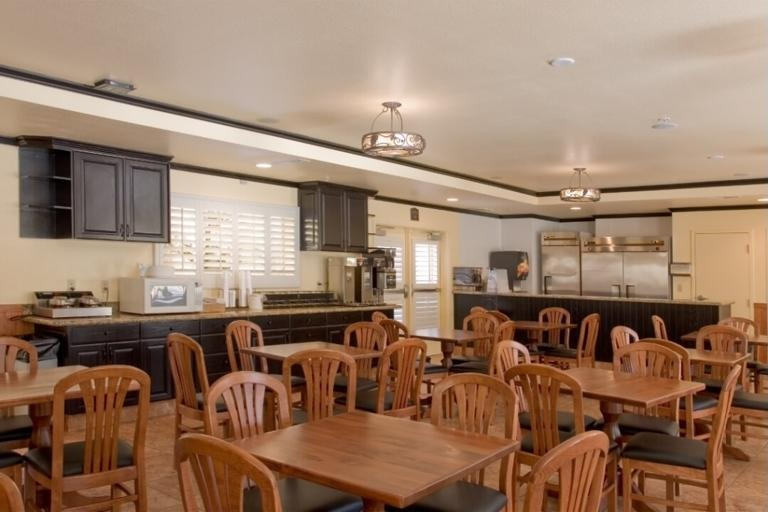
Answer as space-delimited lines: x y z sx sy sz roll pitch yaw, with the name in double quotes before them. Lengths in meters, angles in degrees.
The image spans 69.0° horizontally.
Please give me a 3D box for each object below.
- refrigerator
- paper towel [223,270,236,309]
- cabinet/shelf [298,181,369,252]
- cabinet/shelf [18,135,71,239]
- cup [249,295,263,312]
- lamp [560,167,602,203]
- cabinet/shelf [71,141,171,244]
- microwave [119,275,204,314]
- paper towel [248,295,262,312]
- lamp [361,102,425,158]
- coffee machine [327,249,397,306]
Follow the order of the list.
"refrigerator" 4.544 0.171 11.254 1.571 1.294 0.551 -1 -3 27
"paper towel" -1.997 0.420 7.166 0.145 0.474 0.351 1 -2 5
"cabinet/shelf" -0.771 -0.570 7.950 1.085 0.799 0.387 4 -7 -41
"cabinet/shelf" -3.564 -0.691 5.881 0.337 0.979 0.580 2 3 41
"cup" -1.648 0.589 7.187 0.172 0.198 0.254 -1 -4 13
"lamp" 2.799 -1.017 7.956 0.540 0.402 0.537 5 17 37
"cabinet/shelf" -3.043 -0.646 6.184 0.495 0.988 1.282 3 4 25
"microwave" -2.234 0.458 6.564 0.959 0.405 0.933 -3 -3 38
"paper towel" -1.641 0.589 7.206 0.164 0.196 0.254 -8 -13 25
"lamp" 0.061 -1.222 5.218 0.548 0.364 0.540 13 20 33
"coffee machine" -0.371 0.307 8.275 0.492 0.816 0.987 -5 -5 44
